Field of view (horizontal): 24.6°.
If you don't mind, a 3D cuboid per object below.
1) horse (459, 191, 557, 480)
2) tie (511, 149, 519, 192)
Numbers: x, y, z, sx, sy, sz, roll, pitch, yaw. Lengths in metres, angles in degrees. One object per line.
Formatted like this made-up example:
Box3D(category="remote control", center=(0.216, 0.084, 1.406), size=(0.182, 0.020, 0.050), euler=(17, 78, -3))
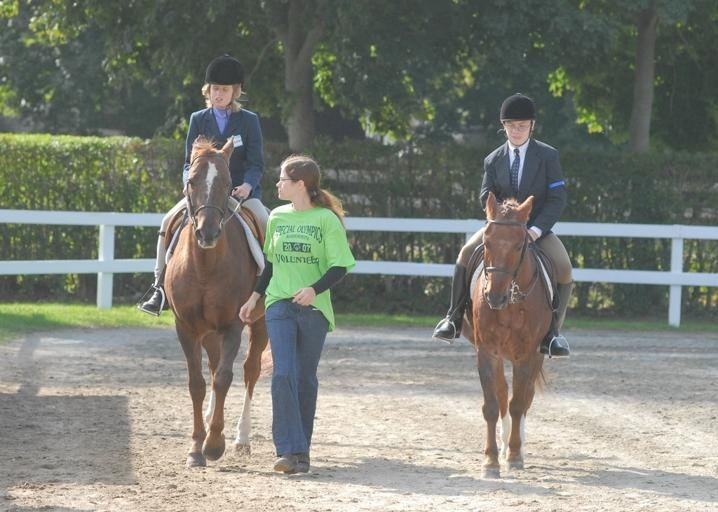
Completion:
Box3D(category="horse", center=(2.484, 1.305, 27.711), size=(1.132, 4.730, 1.458), euler=(0, -2, 44))
Box3D(category="tie", center=(2.698, -1.504, 28.245), size=(0.145, 0.749, 0.100), euler=(1, -2, 8))
